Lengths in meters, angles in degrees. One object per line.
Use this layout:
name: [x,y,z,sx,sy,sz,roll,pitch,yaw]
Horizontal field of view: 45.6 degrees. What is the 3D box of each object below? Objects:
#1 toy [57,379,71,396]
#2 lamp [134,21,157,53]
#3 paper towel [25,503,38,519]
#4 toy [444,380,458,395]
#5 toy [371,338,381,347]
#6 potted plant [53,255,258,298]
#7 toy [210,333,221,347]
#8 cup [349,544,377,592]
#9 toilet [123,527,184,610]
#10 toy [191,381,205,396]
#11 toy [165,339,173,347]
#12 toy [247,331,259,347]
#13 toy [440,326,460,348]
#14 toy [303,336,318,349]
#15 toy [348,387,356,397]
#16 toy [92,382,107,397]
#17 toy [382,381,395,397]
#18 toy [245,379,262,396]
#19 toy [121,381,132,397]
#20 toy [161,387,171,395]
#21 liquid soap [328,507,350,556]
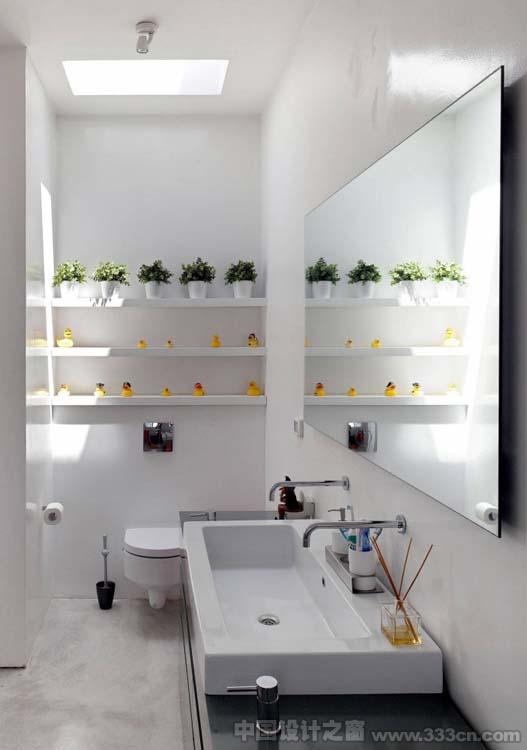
toy: [-1.074,0.085,3.373,0.072,0.074,0.165,-7,13,-16]
lamp: [-0.464,-1.350,2.516,0.089,0.094,0.155,-6,13,-10]
paper towel: [-0.998,0.576,2.697,0.057,0.056,0.057,12,9,38]
toy: [0.320,0.020,1.072,0.016,0.017,0.030,-2,27,18]
toy: [0.277,-0.078,1.531,0.015,0.018,0.014,13,-23,8]
potted plant: [-0.581,-0.508,3.379,1.094,0.255,0.316,-4,12,-2]
toy: [-0.249,-0.191,3.461,0.067,0.071,0.071,5,-6,-24]
cup: [0.228,0.453,1.473,0.072,0.097,0.089,-2,0,-4]
toilet: [-0.546,1.020,3.191,0.283,0.449,0.408,-5,12,-8]
toy: [-0.356,0.072,3.441,0.062,0.072,0.064,1,-8,4]
toy: [-0.512,-0.169,3.412,0.044,0.053,0.047,6,1,-5]
toy: [-0.051,-0.190,3.446,0.052,0.079,0.086,-1,-8,7]
toy: [0.325,-0.060,1.079,0.016,0.028,0.027,-6,12,4]
toy: [0.173,-0.116,2.240,0.043,0.053,0.121,-1,-6,-2]
toy: [0.247,0.047,1.726,0.023,0.025,0.037,1,-6,-3]
toy: [-0.888,0.080,3.402,0.070,0.079,0.072,0,-4,-8]
toy: [0.282,0.026,1.417,0.016,0.026,0.026,3,-5,-17]
toy: [-0.051,0.074,3.456,0.071,0.085,0.075,1,-5,0]
toy: [-0.725,0.072,3.396,0.065,0.078,0.068,0,-6,2]
toy: [-0.531,0.094,3.422,0.029,0.032,0.047,0,-4,-18]
liquid soap: [0.200,0.413,1.668,0.059,0.110,0.106,0,-5,0]
